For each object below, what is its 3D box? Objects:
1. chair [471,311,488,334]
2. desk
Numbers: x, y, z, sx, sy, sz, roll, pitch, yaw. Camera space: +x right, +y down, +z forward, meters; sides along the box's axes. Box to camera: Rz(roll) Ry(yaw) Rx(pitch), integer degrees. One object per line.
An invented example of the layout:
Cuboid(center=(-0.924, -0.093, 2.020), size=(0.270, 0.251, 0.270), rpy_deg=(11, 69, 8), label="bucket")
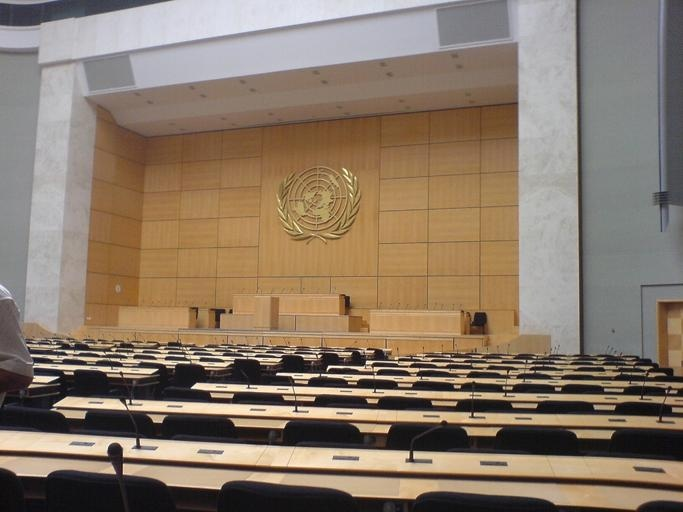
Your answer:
Cuboid(center=(4.118, 2.048, 17.957), size=(0.548, 0.839, 0.622), rpy_deg=(0, -7, 14), label="chair")
Cuboid(center=(-0.995, 1.480, 17.188), size=(9.071, 1.268, 0.719), rpy_deg=(0, -16, 14), label="desk")
